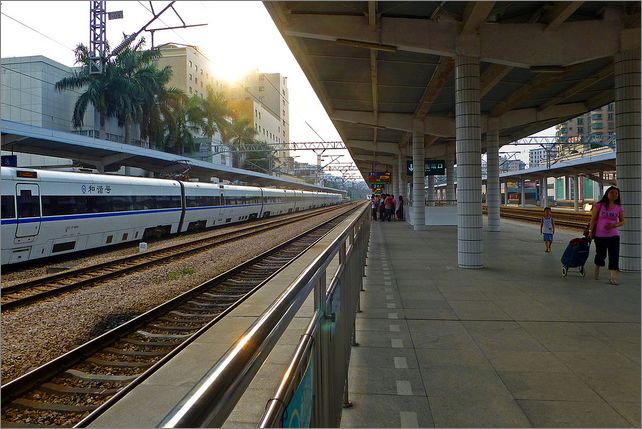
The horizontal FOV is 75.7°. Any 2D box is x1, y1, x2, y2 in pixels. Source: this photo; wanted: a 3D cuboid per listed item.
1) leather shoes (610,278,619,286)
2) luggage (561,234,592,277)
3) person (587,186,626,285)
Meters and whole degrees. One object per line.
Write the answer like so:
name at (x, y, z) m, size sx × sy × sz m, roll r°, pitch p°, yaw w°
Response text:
leather shoes at (6.837, 1.592, 9.648) m, size 0.114 × 0.092 × 0.223 m, roll -6°, pitch -8°, yaw 22°
luggage at (6.375, 1.050, 10.303) m, size 0.581 × 0.955 × 0.828 m, roll 1°, pitch -2°, yaw 13°
person at (6.671, 0.493, 9.679) m, size 0.653 × 2.270 × 0.479 m, roll 0°, pitch 6°, yaw 33°
